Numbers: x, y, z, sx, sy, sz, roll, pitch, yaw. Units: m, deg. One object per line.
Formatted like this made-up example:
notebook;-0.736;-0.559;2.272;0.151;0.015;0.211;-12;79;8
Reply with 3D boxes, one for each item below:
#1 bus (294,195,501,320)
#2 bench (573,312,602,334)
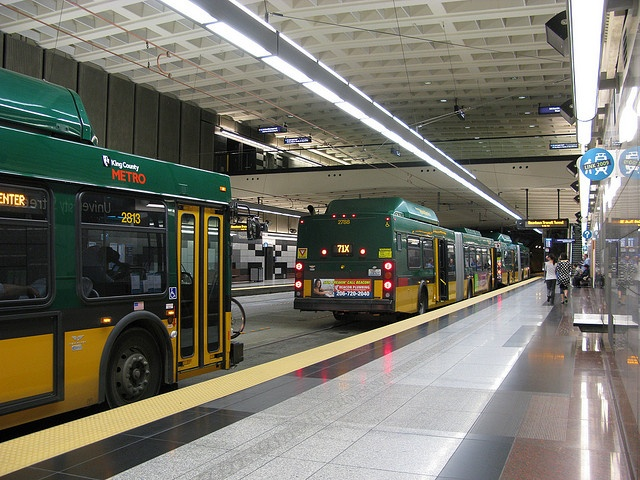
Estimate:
bus;3.651;0.630;17.212;3.226;3.181;10.729;-1;-1;36
bench;5.603;1.769;9.149;0.586;0.143;0.641;-2;0;21
